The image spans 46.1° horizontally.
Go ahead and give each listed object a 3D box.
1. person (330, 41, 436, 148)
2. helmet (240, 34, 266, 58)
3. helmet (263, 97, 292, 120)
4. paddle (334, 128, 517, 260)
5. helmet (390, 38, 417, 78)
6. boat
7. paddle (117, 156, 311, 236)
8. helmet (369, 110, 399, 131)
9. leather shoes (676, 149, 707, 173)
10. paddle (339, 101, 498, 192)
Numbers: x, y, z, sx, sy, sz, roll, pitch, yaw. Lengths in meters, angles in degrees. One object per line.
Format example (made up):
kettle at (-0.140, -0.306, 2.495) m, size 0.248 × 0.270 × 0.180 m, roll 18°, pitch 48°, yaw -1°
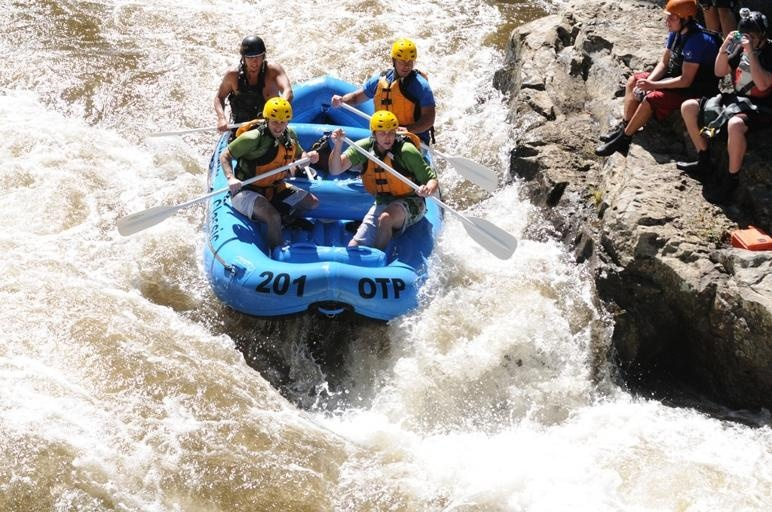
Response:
person at (-0.037, -2.234, 12.788) m, size 1.071 × 2.087 × 1.104 m, roll 27°, pitch 67°, yaw 15°
helmet at (-1.761, -2.756, 12.013) m, size 0.309 × 0.313 × 0.302 m, roll -23°, pitch 50°, yaw -34°
helmet at (-1.340, -1.775, 11.185) m, size 0.251 × 0.334 × 0.279 m, roll -1°, pitch 74°, yaw -19°
paddle at (0.479, -0.744, 11.739) m, size 2.886 × 0.360 × 0.120 m, roll 40°, pitch 16°, yaw 13°
helmet at (0.231, -2.675, 12.095) m, size 0.325 × 0.453 × 0.428 m, roll -2°, pitch 33°, yaw -12°
boat at (-0.780, -0.876, 12.012) m, size 3.076 × 1.295 × 3.842 m, roll 3°, pitch 40°, yaw -9°
paddle at (-2.196, -0.740, 11.802) m, size 2.688 × 0.299 × 0.167 m, roll -21°, pitch 9°, yaw 4°
helmet at (-0.015, -1.636, 11.160) m, size 0.319 × 0.252 × 0.275 m, roll 8°, pitch 39°, yaw -4°
leather shoes at (3.690, -1.146, 10.977) m, size 0.394 × 0.285 × 0.158 m, roll 22°, pitch 32°, yaw 40°
paddle at (0.411, -1.437, 12.223) m, size 2.550 × 0.347 × 0.177 m, roll 36°, pitch 9°, yaw 20°
